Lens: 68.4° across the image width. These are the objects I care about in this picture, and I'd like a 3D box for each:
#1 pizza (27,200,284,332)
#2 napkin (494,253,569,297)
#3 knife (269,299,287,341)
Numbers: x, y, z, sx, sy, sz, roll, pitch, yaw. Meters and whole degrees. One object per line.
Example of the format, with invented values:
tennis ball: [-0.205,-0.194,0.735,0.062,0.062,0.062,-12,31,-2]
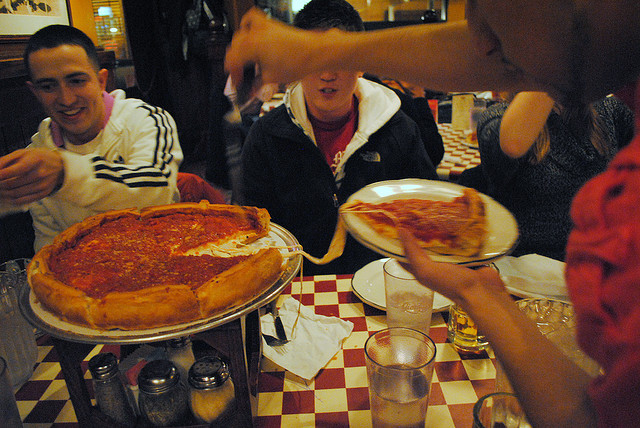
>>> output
pizza: [-0.646,0.159,1.907,0.863,0.142,0.872,1,22,-3]
napkin: [0.862,0.255,1.926,0.280,0.059,0.205,16,33,36]
knife: [-0.177,0.464,2.007,0.036,0.040,0.265,-11,34,-4]
